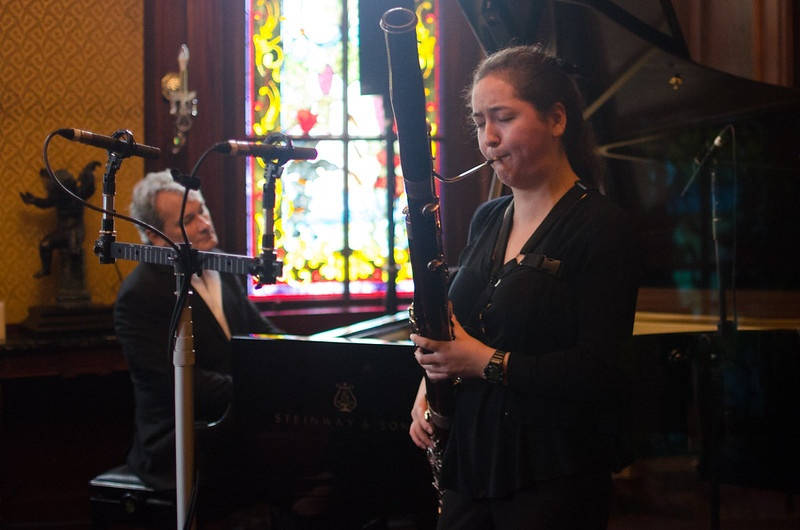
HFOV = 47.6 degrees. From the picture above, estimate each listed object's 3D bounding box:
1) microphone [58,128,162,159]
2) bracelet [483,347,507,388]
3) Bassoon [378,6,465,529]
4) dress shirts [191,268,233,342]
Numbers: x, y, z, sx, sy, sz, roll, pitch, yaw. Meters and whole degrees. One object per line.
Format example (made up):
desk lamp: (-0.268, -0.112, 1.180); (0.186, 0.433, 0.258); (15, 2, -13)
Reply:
microphone: (-1.136, -0.469, 3.453); (0.379, 0.126, 0.226); (1, -2, -38)
bracelet: (0.337, 0.359, 3.170); (0.078, 0.112, 0.110); (8, 6, 17)
Bassoon: (0.132, -0.028, 3.240); (0.263, 1.696, 0.261); (-6, 15, -8)
dress shirts: (-0.894, 0.199, 4.374); (0.249, 0.316, 0.118); (-16, -2, -38)
